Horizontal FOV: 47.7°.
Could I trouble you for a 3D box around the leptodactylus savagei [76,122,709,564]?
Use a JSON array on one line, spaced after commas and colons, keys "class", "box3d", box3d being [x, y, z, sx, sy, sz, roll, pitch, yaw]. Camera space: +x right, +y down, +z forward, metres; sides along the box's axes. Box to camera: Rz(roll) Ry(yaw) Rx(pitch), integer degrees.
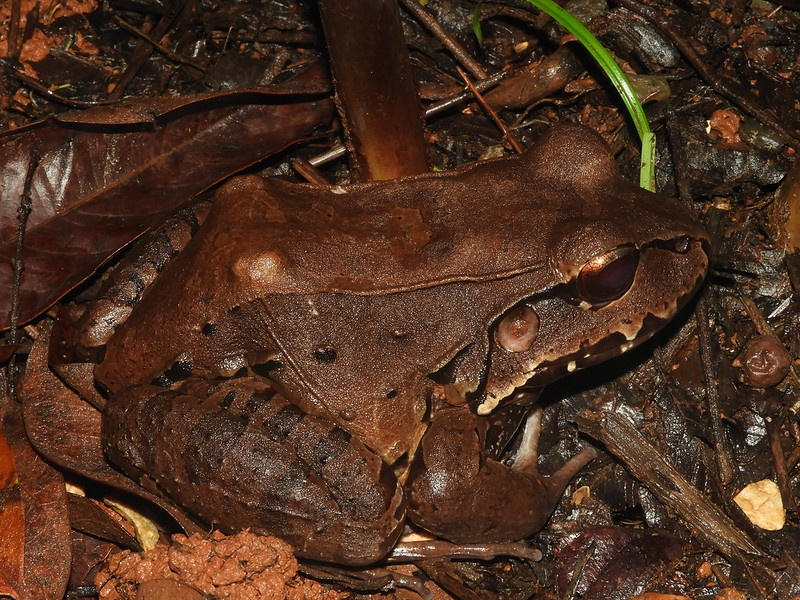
[{"class": "leptodactylus savagei", "box3d": [-0.023, -0.051, 5.328, 3.587, 2.229, 1.347, -12, -31, -6]}]
